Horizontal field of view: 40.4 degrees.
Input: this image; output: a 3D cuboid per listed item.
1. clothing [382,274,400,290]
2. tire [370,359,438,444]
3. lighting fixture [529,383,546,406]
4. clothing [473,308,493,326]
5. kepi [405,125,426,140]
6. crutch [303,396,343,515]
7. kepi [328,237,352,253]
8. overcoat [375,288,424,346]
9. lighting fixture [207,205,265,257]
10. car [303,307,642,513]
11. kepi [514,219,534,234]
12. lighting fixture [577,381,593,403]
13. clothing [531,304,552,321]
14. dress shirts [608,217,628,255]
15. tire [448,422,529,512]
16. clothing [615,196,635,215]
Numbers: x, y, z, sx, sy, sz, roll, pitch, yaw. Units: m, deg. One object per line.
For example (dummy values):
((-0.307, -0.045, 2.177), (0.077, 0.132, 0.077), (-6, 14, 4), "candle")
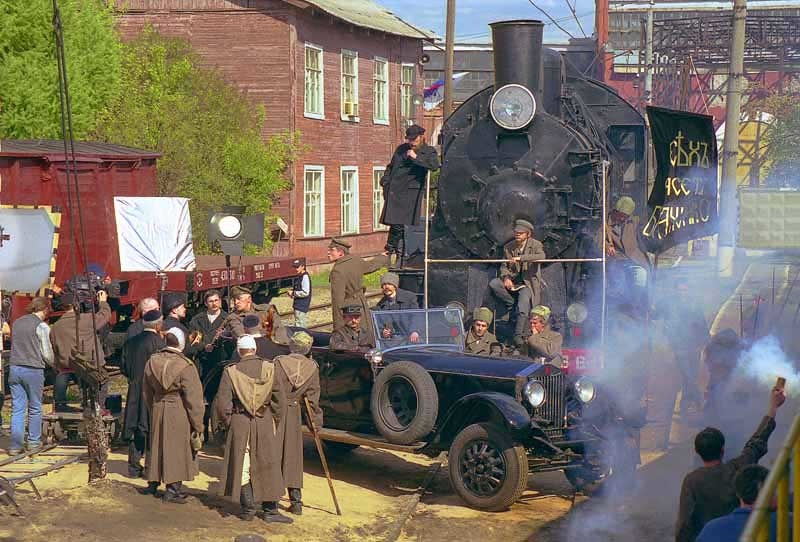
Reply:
((-0.181, 0.212, 20.279), (0.237, 0.210, 0.287), (-2, -18, 10), "clothing")
((0.099, 2.167, 17.413), (1.309, 1.339, 0.406), (6, 6, 29), "tire")
((2.156, 1.975, 17.099), (0.359, 0.327, 0.189), (5, -11, -34), "lighting fixture")
((1.471, 0.829, 19.180), (0.256, 0.257, 0.330), (3, -7, -2), "clothing")
((0.254, -2.664, 21.058), (0.278, 0.168, 0.321), (-8, 17, -22), "kepi")
((-1.272, 3.101, 17.966), (0.221, 1.847, 0.268), (-17, -3, -20), "crutch")
((-1.111, -0.445, 20.563), (0.399, 0.155, 0.329), (4, -2, -36), "kepi")
((-0.057, 0.828, 18.620), (0.807, 1.005, 0.416), (-4, -1, -7), "overcoat")
((-3.322, -0.778, 22.189), (1.167, 1.062, 0.370), (2, 0, -5), "lighting fixture")
((1.175, 2.207, 17.980), (5.133, 2.223, 2.640), (-1, -1, 33), "car")
((2.332, -0.791, 20.197), (0.273, 0.171, 0.330), (-1, -3, 39), "kepi")
((3.011, 1.984, 17.583), (0.333, 0.312, 0.125), (-23, 4, -21), "lighting fixture")
((2.506, 0.784, 19.405), (0.255, 0.240, 0.334), (0, -15, 42), "clothing")
((4.061, -0.617, 20.451), (0.541, 0.637, 0.218), (3, 2, -31), "dress shirts")
((1.402, 3.051, 16.904), (1.321, 1.299, 0.448), (-14, -8, 23), "tire")
((4.240, -1.168, 20.516), (0.353, 0.346, 0.367), (5, 13, 8), "clothing")
